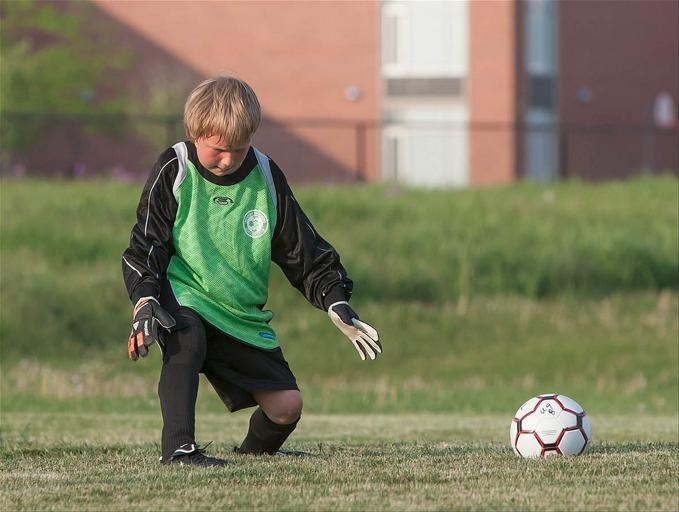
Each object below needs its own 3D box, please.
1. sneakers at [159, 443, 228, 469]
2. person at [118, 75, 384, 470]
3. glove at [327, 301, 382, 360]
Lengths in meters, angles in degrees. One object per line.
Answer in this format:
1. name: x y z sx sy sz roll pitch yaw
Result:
1. sneakers: -0.783 1.042 7.965 0.380 0.160 0.131 1 -4 2
2. person: -0.565 0.057 8.151 1.220 2.067 0.529 0 1 -9
3. glove: 0.009 0.366 8.275 0.361 0.188 0.625 -8 2 0
